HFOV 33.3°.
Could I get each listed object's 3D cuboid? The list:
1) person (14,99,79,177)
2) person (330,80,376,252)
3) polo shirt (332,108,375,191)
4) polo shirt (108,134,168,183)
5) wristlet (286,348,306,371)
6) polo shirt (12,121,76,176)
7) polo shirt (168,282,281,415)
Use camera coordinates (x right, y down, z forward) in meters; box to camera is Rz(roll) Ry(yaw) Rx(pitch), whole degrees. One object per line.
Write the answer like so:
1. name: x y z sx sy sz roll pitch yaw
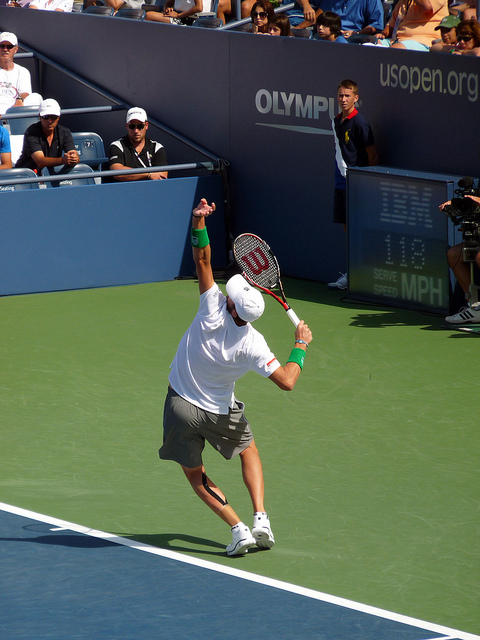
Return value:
1. person: -2.714 -2.556 11.231 0.769 1.056 0.592 -2 9 -14
2. person: 1.408 -1.938 10.143 0.498 2.071 0.735 -1 9 -5
3. polo shirt: 1.394 -2.102 9.893 0.500 0.965 0.307 2 9 10
4. polo shirt: -1.434 -2.331 11.585 0.905 0.607 0.446 2 10 9
5. wristlet: 0.281 0.193 3.943 0.073 0.120 0.234 1 8 7
6. polo shirt: -2.741 -2.417 11.427 0.772 0.878 0.884 0 19 -30
7. polo shirt: -0.082 0.149 3.873 0.574 0.619 0.288 1 9 8
